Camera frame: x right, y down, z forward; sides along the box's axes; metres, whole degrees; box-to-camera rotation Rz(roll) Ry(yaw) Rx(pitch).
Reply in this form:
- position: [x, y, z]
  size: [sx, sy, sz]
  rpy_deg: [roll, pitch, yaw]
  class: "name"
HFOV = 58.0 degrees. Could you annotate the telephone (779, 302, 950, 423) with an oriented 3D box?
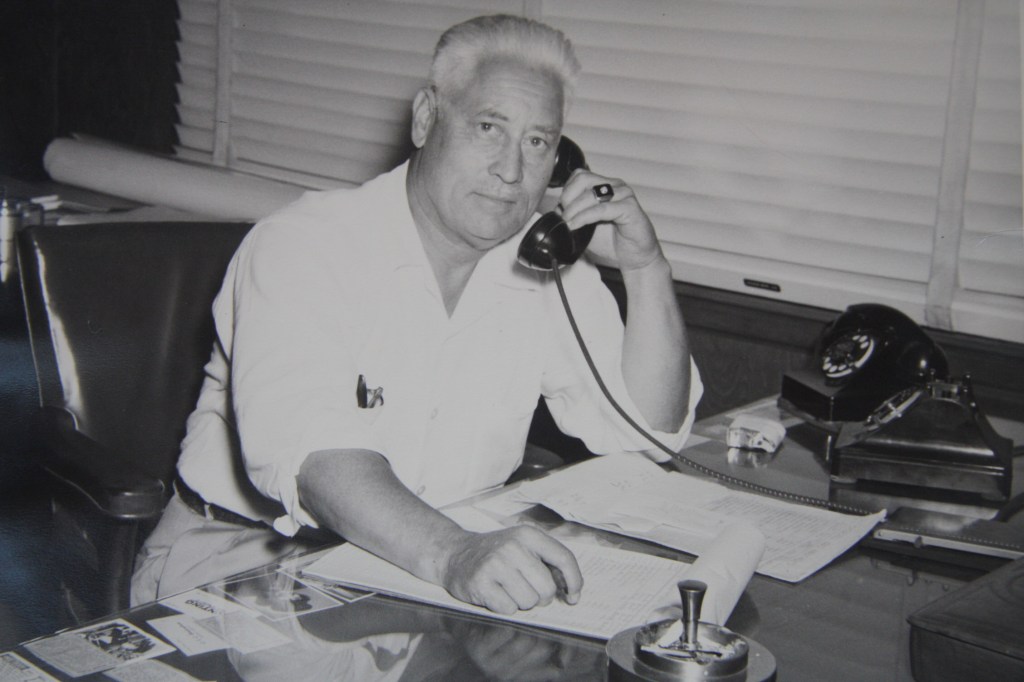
- position: [0.775, 0.038, 2.068]
  size: [0.302, 0.254, 0.400]
  rpy_deg: [4, 7, -3]
  class: "telephone"
